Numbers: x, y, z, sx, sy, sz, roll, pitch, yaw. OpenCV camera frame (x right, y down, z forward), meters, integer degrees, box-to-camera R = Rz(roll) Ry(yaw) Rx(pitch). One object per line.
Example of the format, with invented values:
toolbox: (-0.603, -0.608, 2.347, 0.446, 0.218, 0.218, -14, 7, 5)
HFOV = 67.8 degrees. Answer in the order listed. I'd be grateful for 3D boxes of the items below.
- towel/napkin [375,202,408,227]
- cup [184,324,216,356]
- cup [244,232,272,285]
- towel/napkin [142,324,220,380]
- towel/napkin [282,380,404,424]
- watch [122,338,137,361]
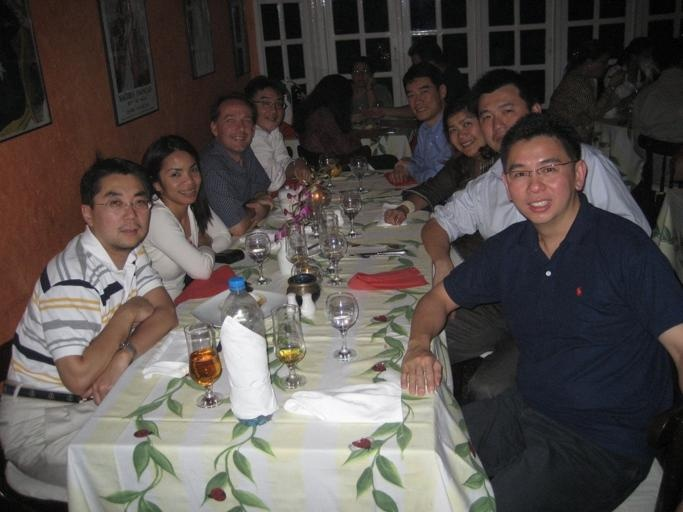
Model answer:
towel/napkin: (0.298, -0.213, 3.012, 0.156, 0.168, 0.051, -2, -28, 11)
cup: (-0.452, 0.259, 1.640, 0.094, 0.099, 0.092, 0, 8, 0)
cup: (-0.389, 0.014, 2.357, 0.133, 0.277, 0.134, 0, 27, 0)
towel/napkin: (-0.577, 0.335, 1.719, 0.141, 0.045, 0.250, 4, 31, 1)
towel/napkin: (0.019, 0.423, 1.461, 0.224, 0.040, 0.135, -1, 20, 0)
watch: (-0.760, 0.335, 1.819, 0.053, 0.051, 0.039, 44, 33, 14)
